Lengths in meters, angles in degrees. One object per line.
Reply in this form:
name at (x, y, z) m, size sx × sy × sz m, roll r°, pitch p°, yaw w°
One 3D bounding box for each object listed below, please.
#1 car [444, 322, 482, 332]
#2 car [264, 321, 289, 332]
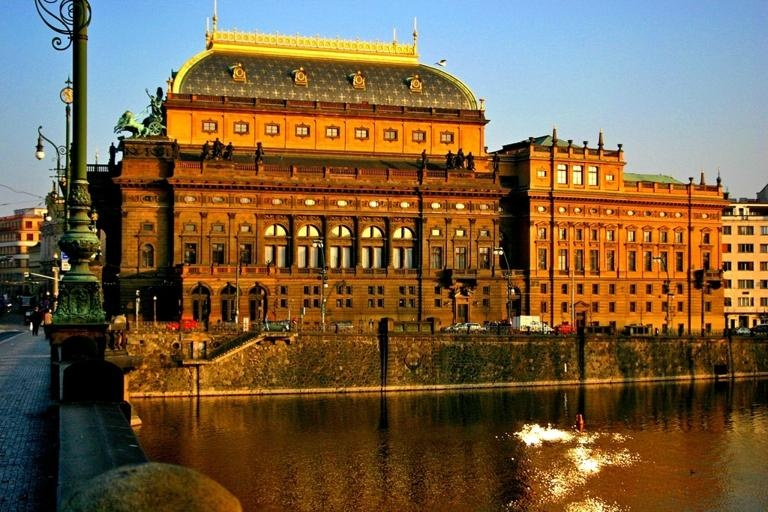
car at (9.583, 8.902, 158.378) m, size 3.180 × 1.028 × 1.561 m, roll 2°, pitch 2°, yaw -8°
car at (-12.031, 7.940, 148.172) m, size 2.858 × 0.861 × 2.104 m, roll 1°, pitch 13°, yaw -7°
